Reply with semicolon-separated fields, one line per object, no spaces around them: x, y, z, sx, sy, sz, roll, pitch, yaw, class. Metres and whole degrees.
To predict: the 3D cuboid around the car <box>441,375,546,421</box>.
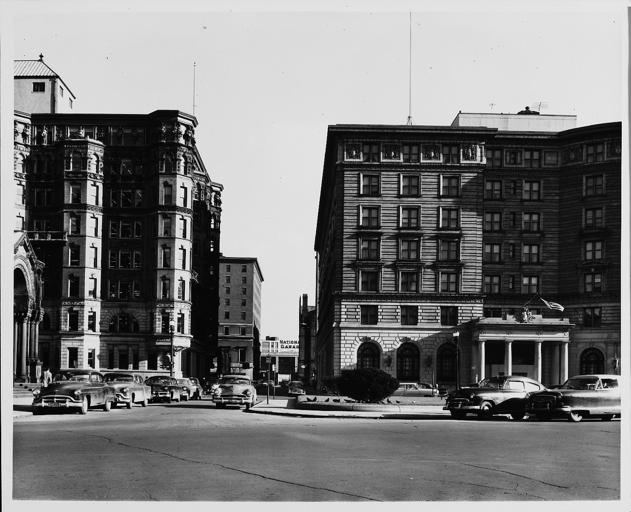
8.485;6.614;68.170;3.922;1.362;2.054;2;-8;-13;car

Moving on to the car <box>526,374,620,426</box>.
11.860;6.386;66.019;4.201;1.443;1.959;4;-10;-19;car
